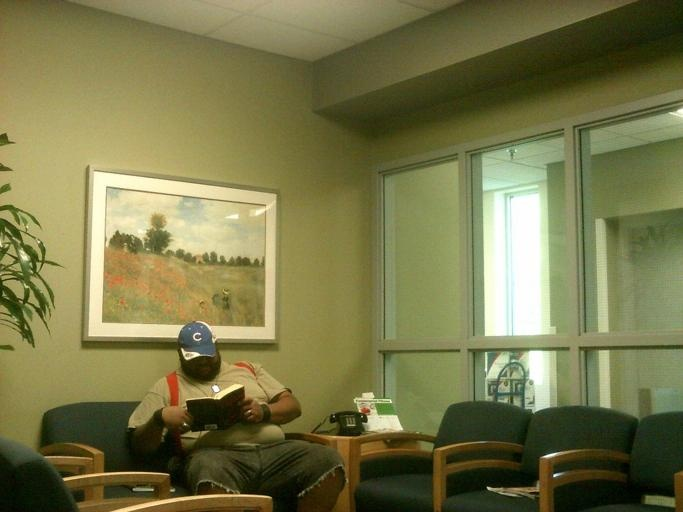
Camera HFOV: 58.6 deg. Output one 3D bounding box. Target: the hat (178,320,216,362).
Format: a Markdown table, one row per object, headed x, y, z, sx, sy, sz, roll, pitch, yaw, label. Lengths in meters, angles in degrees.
| x | y | z | sx | sy | sz | roll | pitch | yaw | label |
| --- | --- | --- | --- | --- | --- | --- | --- | --- | --- |
| -0.993 | 0.546 | 4.156 | 0.238 | 0.174 | 0.358 | -9 | 20 | -27 | hat |

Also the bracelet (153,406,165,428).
| x | y | z | sx | sy | sz | roll | pitch | yaw | label |
| --- | --- | --- | --- | --- | --- | --- | --- | --- | --- |
| -1.122 | 1.000 | 3.778 | 0.107 | 0.096 | 0.104 | 0 | 0 | -6 | bracelet |

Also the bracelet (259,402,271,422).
| x | y | z | sx | sy | sz | roll | pitch | yaw | label |
| --- | --- | --- | --- | --- | --- | --- | --- | --- | --- |
| -0.505 | 1.041 | 4.009 | 0.091 | 0.084 | 0.114 | 2 | -5 | -8 | bracelet |

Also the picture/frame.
| x | y | z | sx | sy | sz | roll | pitch | yaw | label |
| --- | --- | --- | --- | --- | --- | --- | --- | --- | --- |
| -1.251 | 0.010 | 4.519 | 1.532 | 1.148 | 0.057 | 1 | -4 | -29 | picture/frame |
